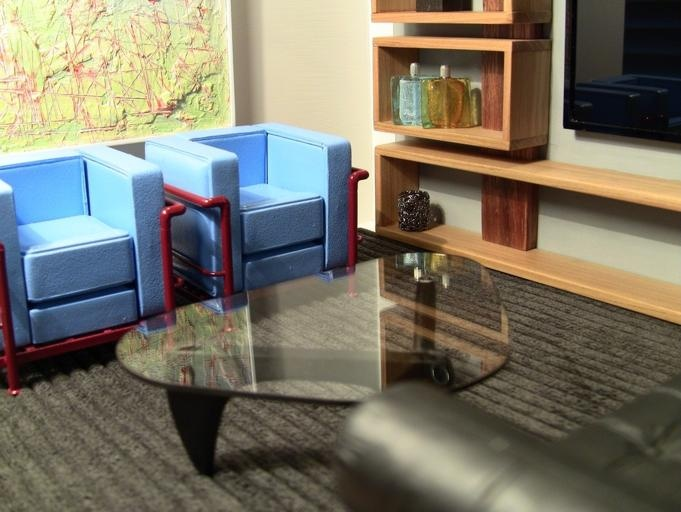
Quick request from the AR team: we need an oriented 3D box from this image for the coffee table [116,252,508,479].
[{"bbox_3d":[0.048,0.264,2.074,1.620,0.180,1.027,-19,30,-34],"label":"coffee table"}]
